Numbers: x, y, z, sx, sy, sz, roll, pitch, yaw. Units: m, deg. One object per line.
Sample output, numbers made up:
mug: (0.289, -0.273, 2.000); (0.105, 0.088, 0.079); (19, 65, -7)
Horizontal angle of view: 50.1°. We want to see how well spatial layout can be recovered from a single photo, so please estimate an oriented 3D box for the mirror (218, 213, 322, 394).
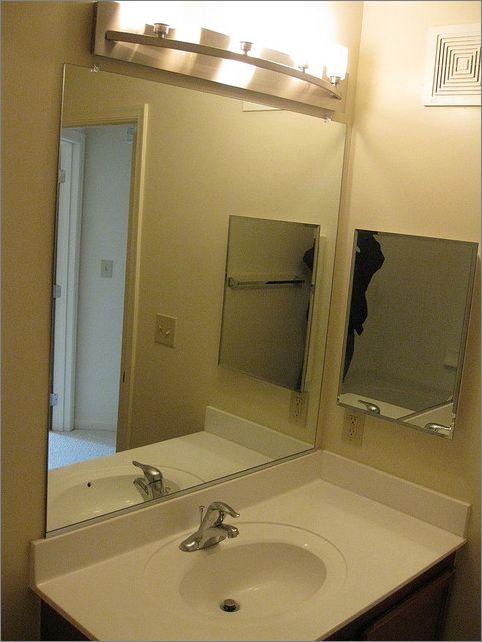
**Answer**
mirror: (0.067, -0.049, 1.449); (0.258, 0.487, 0.062); (10, 24, 13)
